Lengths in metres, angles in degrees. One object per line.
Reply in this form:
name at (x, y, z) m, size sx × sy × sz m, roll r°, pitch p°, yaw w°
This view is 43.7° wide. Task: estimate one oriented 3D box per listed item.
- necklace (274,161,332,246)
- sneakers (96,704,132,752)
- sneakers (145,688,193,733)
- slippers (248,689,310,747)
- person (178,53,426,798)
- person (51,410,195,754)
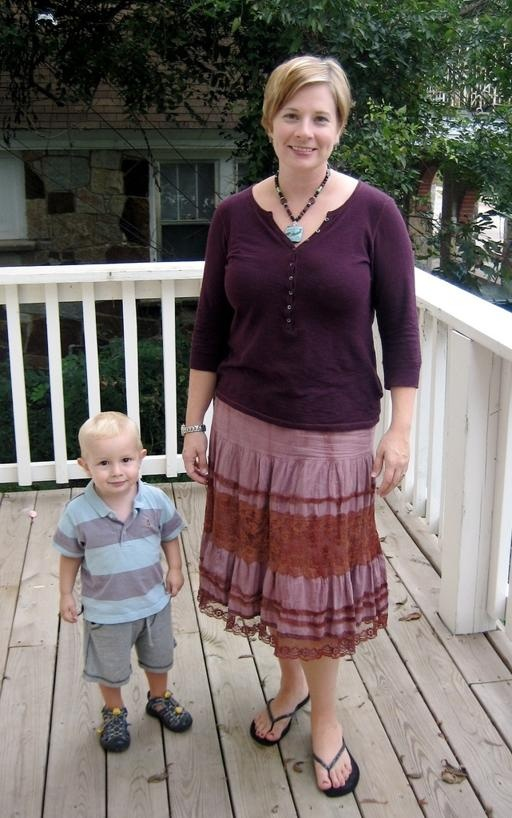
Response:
necklace at (0.074, -0.355, 1.120) m, size 0.107 × 0.133 × 0.119 m, roll 3°, pitch 13°, yaw 12°
sneakers at (-0.345, 0.743, 1.495) m, size 0.049 × 0.049 × 0.118 m, roll 0°, pitch 4°, yaw -11°
sneakers at (-0.213, 0.729, 1.589) m, size 0.123 × 0.056 × 0.061 m, roll 19°, pitch 29°, yaw 33°
slippers at (0.057, 0.736, 1.548) m, size 0.064 × 0.041 × 0.169 m, roll 21°, pitch 39°, yaw 34°
person at (0.045, 0.163, 1.331) m, size 0.510 × 1.259 × 0.271 m, roll 10°, pitch 16°, yaw 37°
person at (-0.296, 0.388, 1.449) m, size 0.291 × 0.797 × 0.236 m, roll -4°, pitch 13°, yaw -19°
